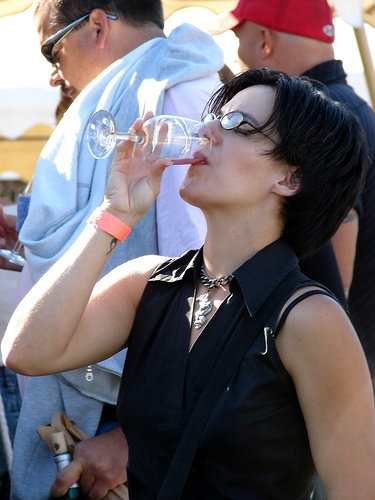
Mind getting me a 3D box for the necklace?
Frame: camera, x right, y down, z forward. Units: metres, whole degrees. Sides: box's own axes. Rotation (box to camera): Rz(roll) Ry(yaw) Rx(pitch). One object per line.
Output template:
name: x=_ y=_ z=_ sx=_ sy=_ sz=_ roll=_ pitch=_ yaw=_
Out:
necklace: x=0.089 y=0.141 z=1.870 sx=0.180 sy=0.152 sz=0.119 roll=3 pitch=13 yaw=2
